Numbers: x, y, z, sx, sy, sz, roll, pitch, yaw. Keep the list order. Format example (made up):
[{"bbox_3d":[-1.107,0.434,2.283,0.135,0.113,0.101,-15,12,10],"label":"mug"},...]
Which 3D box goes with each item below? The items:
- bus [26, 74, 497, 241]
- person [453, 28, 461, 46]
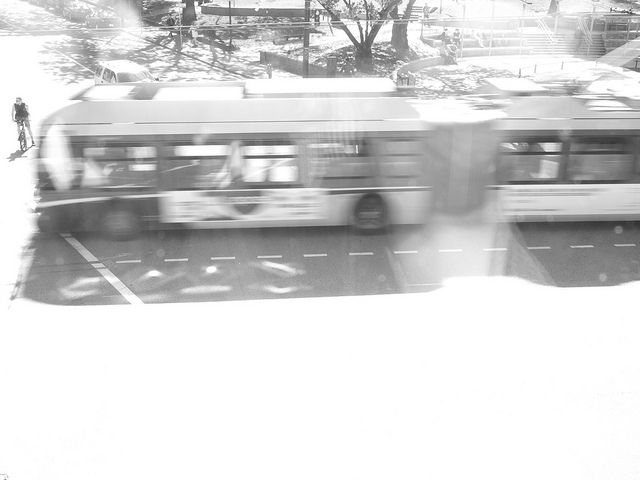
[{"bbox_3d":[-1.063,-2.131,14.593,14.306,3.269,3.275,1,14,11],"label":"bus"},{"bbox_3d":[10.722,-15.967,39.771,0.702,1.215,1.682,7,32,11],"label":"person"}]
